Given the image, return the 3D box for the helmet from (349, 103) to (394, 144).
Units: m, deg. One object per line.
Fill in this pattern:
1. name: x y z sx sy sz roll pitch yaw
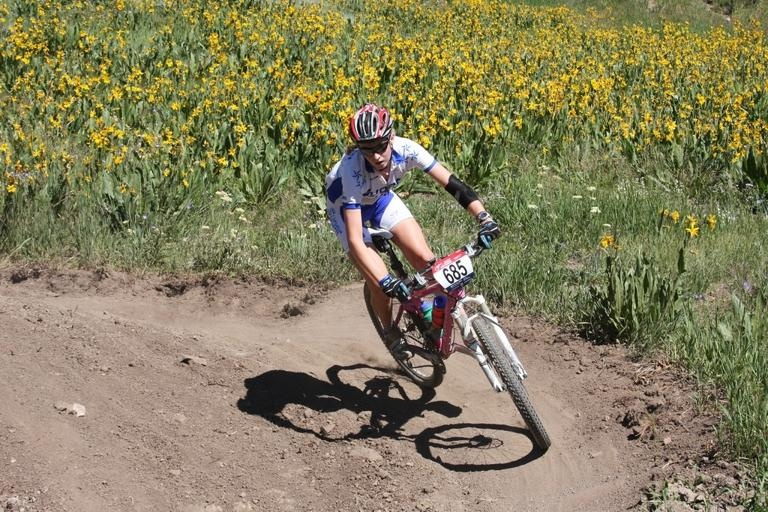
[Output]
1. helmet: -0.139 -1.297 8.002 0.417 0.353 0.229 -2 13 -2

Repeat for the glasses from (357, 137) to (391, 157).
1. glasses: -0.100 -1.067 7.982 0.178 0.078 0.205 -7 25 8

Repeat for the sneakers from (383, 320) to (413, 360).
1. sneakers: 0.122 0.936 8.698 0.162 0.210 0.449 -28 56 -15

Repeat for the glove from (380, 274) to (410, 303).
1. glove: 0.105 0.319 7.986 0.262 0.135 0.196 27 -17 -23

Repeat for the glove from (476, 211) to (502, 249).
1. glove: 1.021 -0.200 8.244 0.210 0.386 0.182 -18 -26 -13
